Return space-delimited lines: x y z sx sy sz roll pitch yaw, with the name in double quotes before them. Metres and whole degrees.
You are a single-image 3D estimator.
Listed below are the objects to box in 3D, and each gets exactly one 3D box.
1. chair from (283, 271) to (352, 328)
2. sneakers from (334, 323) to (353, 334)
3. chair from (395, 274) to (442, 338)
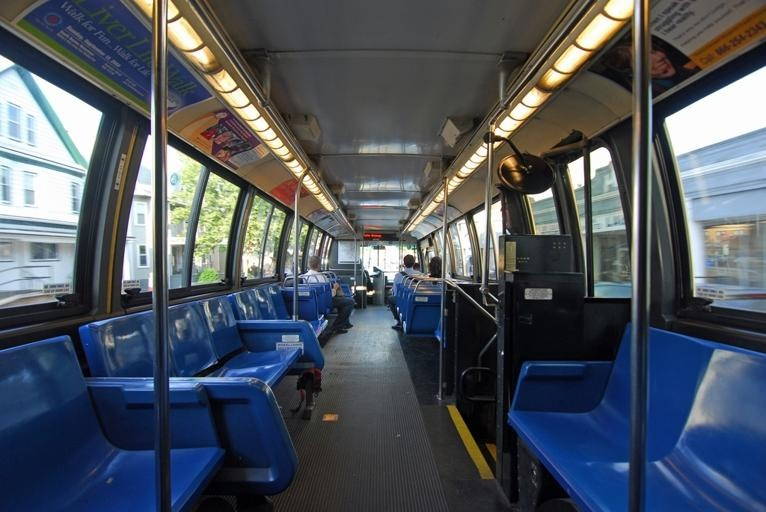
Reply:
"chair" -1.269 0.809 8.823 1.266 0.866 0.658 1 -10 -14
"sneakers" -0.828 1.475 9.662 0.120 0.156 0.365 12 10 26
"chair" 0.668 0.896 8.615 0.714 0.962 1.238 0 8 6
